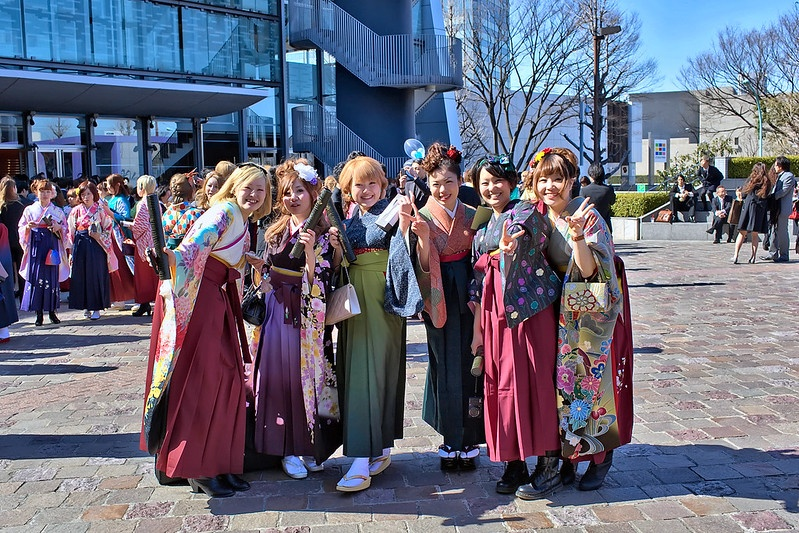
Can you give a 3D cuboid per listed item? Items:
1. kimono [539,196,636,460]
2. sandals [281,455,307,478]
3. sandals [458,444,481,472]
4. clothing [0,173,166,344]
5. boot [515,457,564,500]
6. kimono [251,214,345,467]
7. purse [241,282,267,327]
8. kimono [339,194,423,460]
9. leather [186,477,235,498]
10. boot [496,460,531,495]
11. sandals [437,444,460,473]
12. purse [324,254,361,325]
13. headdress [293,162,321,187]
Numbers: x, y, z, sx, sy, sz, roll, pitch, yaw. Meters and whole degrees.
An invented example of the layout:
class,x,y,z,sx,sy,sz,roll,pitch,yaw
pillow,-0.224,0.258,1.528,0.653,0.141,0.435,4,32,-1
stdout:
class,x,y,z,sx,sy,sz,roll,pitch,yaw
kimono,1.415,0.465,4.608,0.627,1.875,0.394,-2,10,-3
sandals,-0.825,1.586,4.986,0.108,0.098,0.219,0,1,-26
sandals,0.553,1.540,5.035,0.150,0.194,0.200,-3,-12,12
clothing,-4.786,-0.061,9.454,2.556,3.450,1.211,0,-3,-31
boot,1.060,1.547,4.742,0.467,0.294,0.179,-6,6,-41
kimono,-0.843,0.578,4.947,0.650,1.885,0.430,-2,10,-4
purse,-1.159,0.307,5.006,0.145,0.297,0.304,21,-7,-1
kimono,-0.169,0.466,4.921,0.650,1.917,0.561,-2,11,-7
leather,-1.397,1.651,4.767,0.379,0.169,0.137,1,2,-1
boot,0.858,1.590,4.758,0.139,0.233,0.373,-4,-7,37
sandals,0.392,1.525,5.027,0.131,0.224,0.073,-2,-14,5
purse,-0.438,0.183,4.871,0.162,0.468,0.392,12,-28,-44
headdress,-0.731,-0.718,4.898,0.192,0.184,0.171,-3,11,-9
